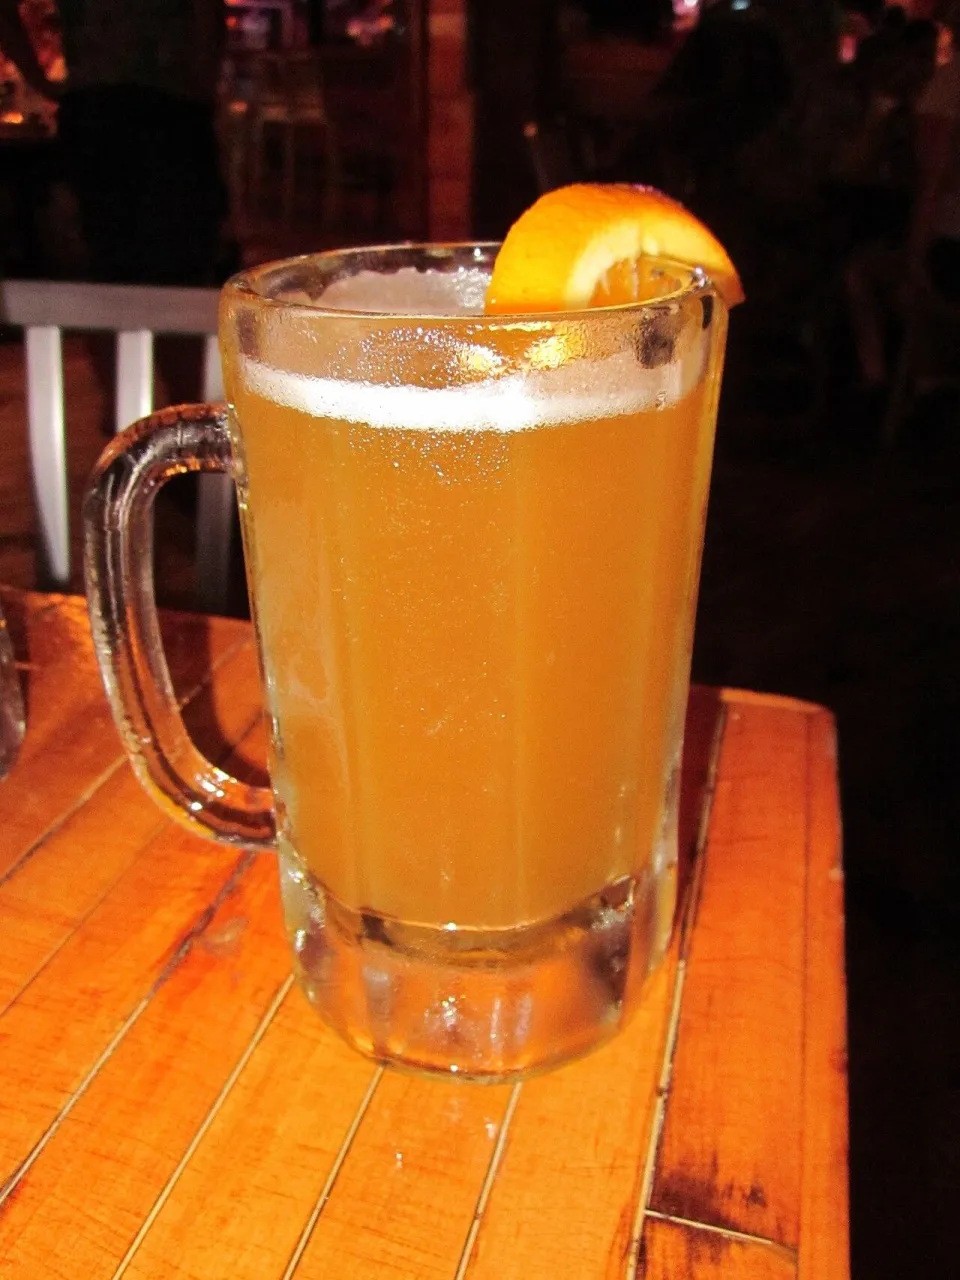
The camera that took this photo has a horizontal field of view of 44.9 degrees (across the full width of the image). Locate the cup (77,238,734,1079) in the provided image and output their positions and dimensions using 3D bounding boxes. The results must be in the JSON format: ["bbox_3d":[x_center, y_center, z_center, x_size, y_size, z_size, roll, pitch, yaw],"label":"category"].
[{"bbox_3d":[0.018,-0.049,0.547,0.349,0.366,0.229,-7,28,-11],"label":"cup"}]
